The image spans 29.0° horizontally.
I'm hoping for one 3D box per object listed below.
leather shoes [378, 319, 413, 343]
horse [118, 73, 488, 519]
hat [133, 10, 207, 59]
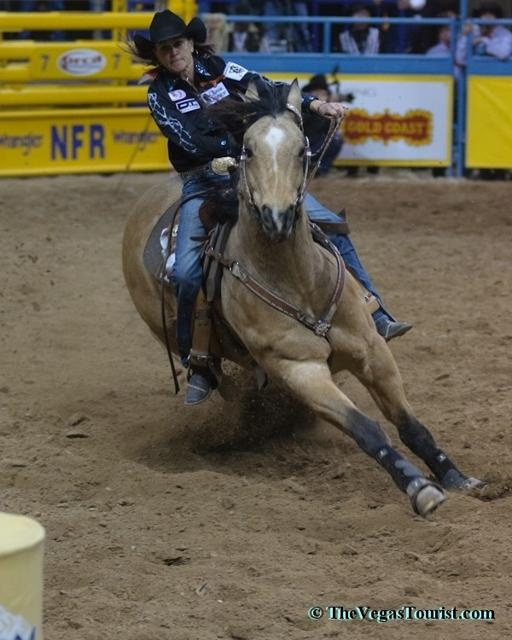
[{"bbox_3d":[0.844,0.061,6.028,0.098,0.099,0.252,-22,-4,-23],"label":"leather shoes"},{"bbox_3d":[0.329,-0.097,4.898,1.592,2.144,1.063,6,19,20],"label":"horse"},{"bbox_3d":[-0.516,-1.686,5.673,0.361,0.116,0.351,-10,4,-14],"label":"hat"}]
